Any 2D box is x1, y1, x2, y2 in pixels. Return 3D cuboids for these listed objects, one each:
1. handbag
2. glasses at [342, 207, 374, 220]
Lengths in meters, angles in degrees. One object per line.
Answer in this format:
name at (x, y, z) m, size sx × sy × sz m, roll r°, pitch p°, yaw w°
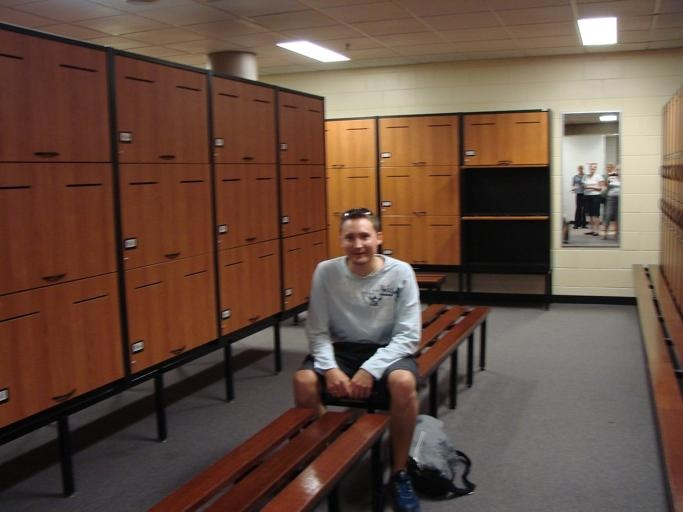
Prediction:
handbag at (0.550, 1.188, 2.993) m, size 0.296 × 0.142 × 0.424 m, roll 17°, pitch 27°, yaw -6°
glasses at (0.098, -0.243, 2.929) m, size 0.137 × 0.103 × 0.037 m, roll -2°, pitch 22°, yaw 0°
